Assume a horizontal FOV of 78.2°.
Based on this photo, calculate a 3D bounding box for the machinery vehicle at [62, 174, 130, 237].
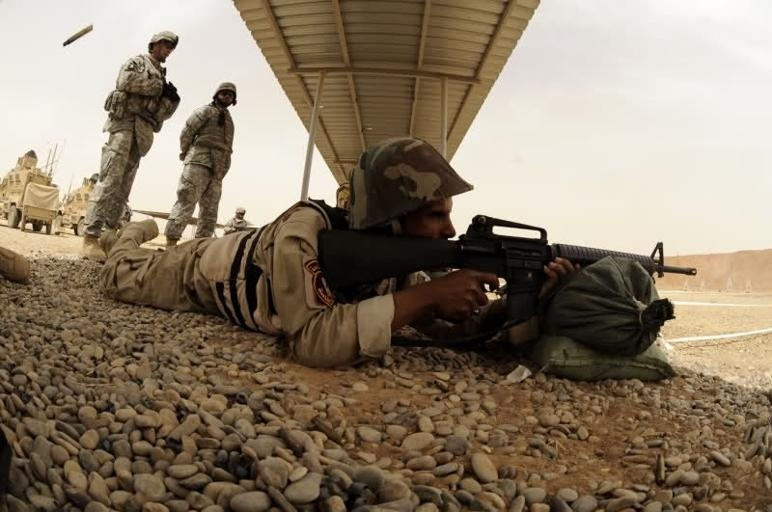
[{"bbox_3d":[-9.200,-1.488,15.083,2.838,1.568,1.560,9,6,37],"label":"machinery vehicle"}]

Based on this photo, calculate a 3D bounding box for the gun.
[{"bbox_3d":[0.886,0.117,2.837,2.403,0.603,0.256,4,-12,-14],"label":"gun"}]

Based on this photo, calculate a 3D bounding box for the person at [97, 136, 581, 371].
[{"bbox_3d":[-0.667,0.056,3.278,3.140,1.023,1.266,2,-22,22],"label":"person"}]
